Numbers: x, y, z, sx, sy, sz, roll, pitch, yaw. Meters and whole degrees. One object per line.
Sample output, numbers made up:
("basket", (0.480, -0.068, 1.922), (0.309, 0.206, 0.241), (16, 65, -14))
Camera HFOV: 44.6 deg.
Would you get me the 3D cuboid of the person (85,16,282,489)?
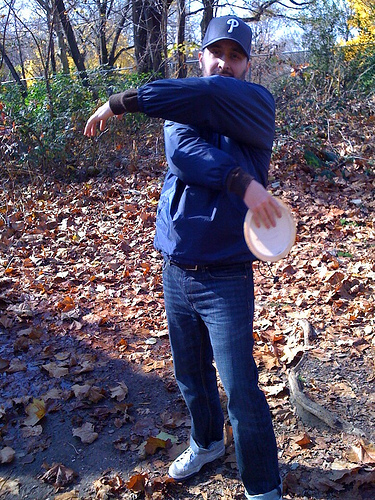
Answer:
("person", (0.157, 0.305, 2.105), (0.517, 2.091, 0.756), (-13, 21, -29))
